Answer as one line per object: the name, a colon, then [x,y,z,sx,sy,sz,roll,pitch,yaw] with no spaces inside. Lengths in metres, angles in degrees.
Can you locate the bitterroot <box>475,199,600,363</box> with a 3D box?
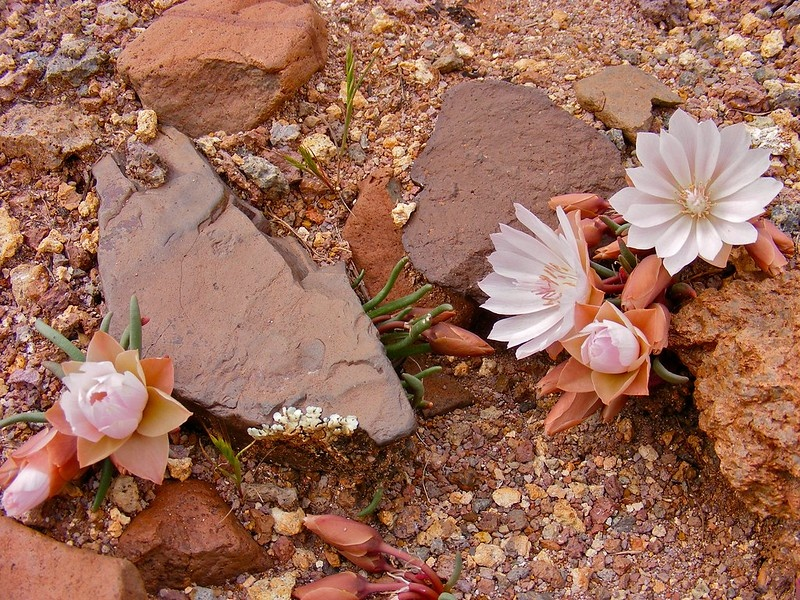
bitterroot: [0.534,-0.058,2.522,0.209,0.492,0.513,0,78,-44]

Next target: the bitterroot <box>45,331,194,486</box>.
bitterroot: [-0.895,0.345,2.277,0.383,0.176,0.336,14,67,37]
